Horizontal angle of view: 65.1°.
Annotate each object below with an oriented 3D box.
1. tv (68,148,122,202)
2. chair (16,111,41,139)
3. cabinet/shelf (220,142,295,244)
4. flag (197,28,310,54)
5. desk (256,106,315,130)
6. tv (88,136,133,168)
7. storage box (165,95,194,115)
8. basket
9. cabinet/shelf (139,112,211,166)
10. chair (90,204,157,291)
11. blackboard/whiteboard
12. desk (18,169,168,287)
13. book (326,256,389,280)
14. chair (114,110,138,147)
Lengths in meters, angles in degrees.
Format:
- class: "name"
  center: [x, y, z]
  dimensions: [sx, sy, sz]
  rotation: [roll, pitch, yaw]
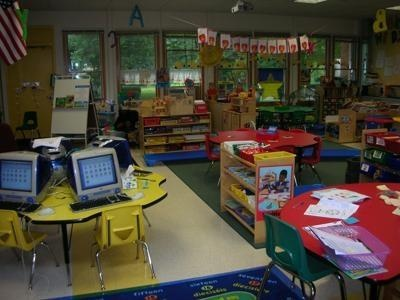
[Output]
- class: "tv"
  center: [-1.040, 0.220, 3.764]
  dimensions: [0.579, 0.485, 0.607]
  rotation: [-9, 4, 31]
- class: "chair"
  center: [-5.638, -0.840, 10.259]
  dimensions: [0.663, 0.958, 1.194]
  rotation: [-9, 15, -27]
- class: "cabinet/shelf"
  center: [0.723, 0.550, 4.071]
  dimensions: [0.504, 0.984, 1.269]
  rotation: [0, 9, -14]
- class: "flag"
  center: [1.264, -2.848, 7.912]
  dimensions: [2.460, 0.577, 2.087]
  rotation: [-15, 19, -43]
- class: "desk"
  center: [2.886, -1.034, 11.065]
  dimensions: [1.587, 0.567, 1.601]
  rotation: [1, 5, -6]
- class: "tv"
  center: [-1.184, 0.016, 4.382]
  dimensions: [0.377, 0.386, 0.522]
  rotation: [-25, 23, -18]
- class: "storage box"
  center: [-0.569, -1.337, 8.819]
  dimensions: [0.851, 0.471, 0.861]
  rotation: [-3, 15, -8]
- class: "basket"
  center: [1.016, 0.653, 2.178]
  dimensions: [0.339, 0.132, 0.467]
  rotation: [-9, 26, -7]
- class: "cabinet/shelf"
  center: [-0.723, -0.350, 8.336]
  dimensions: [1.365, 0.938, 0.478]
  rotation: [-4, 10, -23]
- class: "chair"
  center: [-0.884, 0.954, 3.587]
  dimensions: [0.656, 0.946, 0.722]
  rotation: [-7, 14, -20]
- class: "blackboard/whiteboard"
  center: [-2.953, -1.062, 7.115]
  dimensions: [0.869, 1.267, 0.760]
  rotation: [-1, 13, 1]
- class: "desk"
  center: [-1.232, 0.507, 3.586]
  dimensions: [1.416, 0.724, 1.117]
  rotation: [-11, 28, -36]
- class: "book"
  center: [1.016, 0.762, 2.031]
  dimensions: [0.341, 0.060, 0.202]
  rotation: [0, 14, 7]
- class: "chair"
  center: [-2.200, -0.843, 9.532]
  dimensions: [0.717, 1.000, 0.933]
  rotation: [0, 11, -1]
